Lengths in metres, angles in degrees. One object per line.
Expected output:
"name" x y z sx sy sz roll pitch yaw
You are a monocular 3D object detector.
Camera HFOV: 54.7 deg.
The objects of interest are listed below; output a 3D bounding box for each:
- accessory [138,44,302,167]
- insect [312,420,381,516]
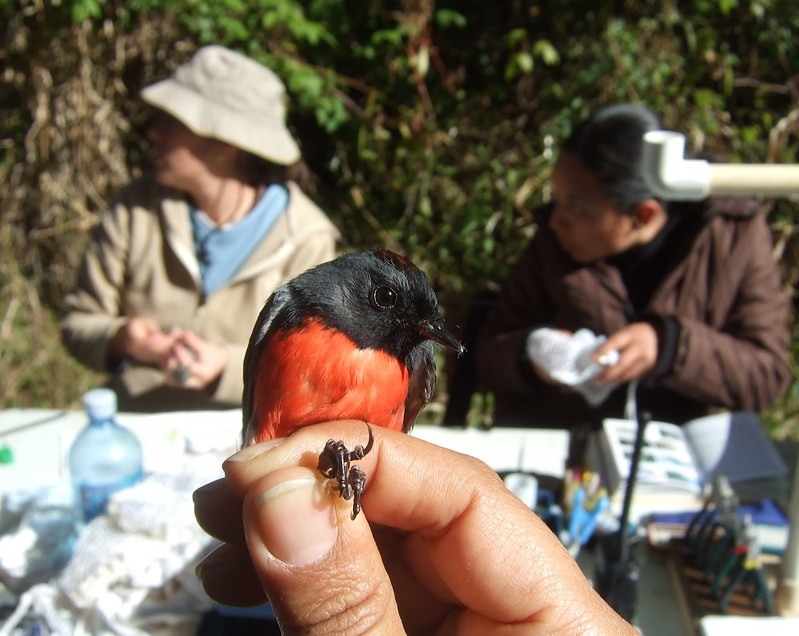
"accessory" -0.777 -0.944 3.424 0.684 0.447 0.156 10 11 14
"insect" -0.192 0.524 2.687 0.187 0.261 0.215 6 11 -2
